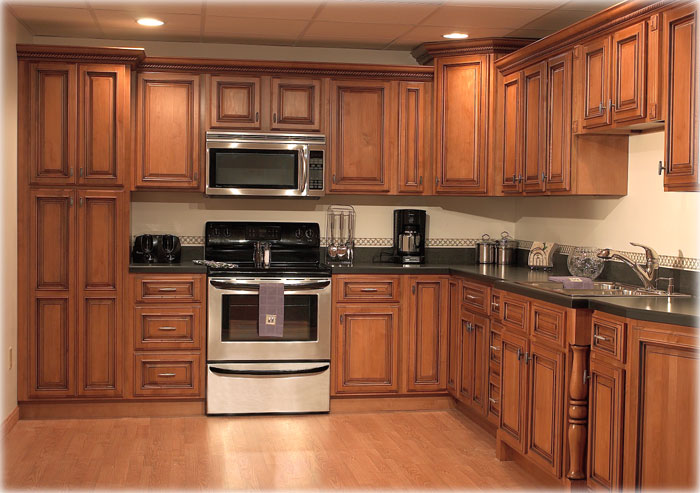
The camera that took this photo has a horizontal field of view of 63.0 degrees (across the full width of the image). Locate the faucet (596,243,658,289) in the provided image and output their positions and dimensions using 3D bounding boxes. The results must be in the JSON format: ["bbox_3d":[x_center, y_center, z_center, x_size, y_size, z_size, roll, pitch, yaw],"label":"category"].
[{"bbox_3d":[1.829,0.120,3.672,0.278,0.275,0.330,1,7,-5],"label":"faucet"}]

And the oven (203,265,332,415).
[{"bbox_3d":[-0.732,0.772,5.090,1.086,1.135,0.997,1,1,-9],"label":"oven"}]

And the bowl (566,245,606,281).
[{"bbox_3d":[1.692,0.112,3.991,0.266,0.227,0.077,0,-1,36],"label":"bowl"}]

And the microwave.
[{"bbox_3d":[-0.676,-0.664,4.776,0.967,0.532,0.644,1,5,-15],"label":"microwave"}]

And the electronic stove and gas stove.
[{"bbox_3d":[-0.680,0.095,4.803,1.068,0.232,0.856,1,4,-10],"label":"electronic stove and gas stove"}]
